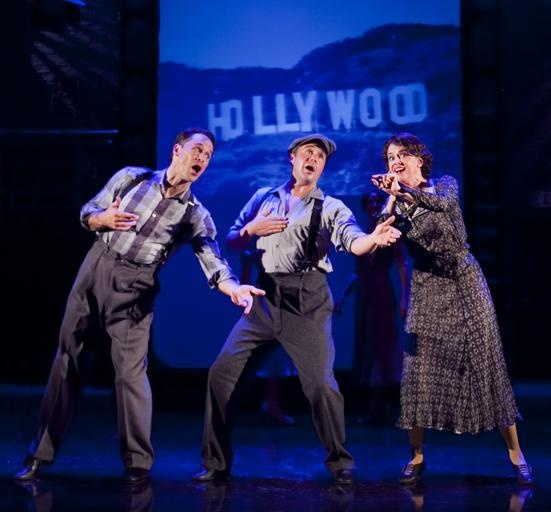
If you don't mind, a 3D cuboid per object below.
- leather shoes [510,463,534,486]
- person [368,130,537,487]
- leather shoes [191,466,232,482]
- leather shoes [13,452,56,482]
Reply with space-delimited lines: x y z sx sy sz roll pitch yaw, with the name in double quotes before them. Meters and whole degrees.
"leather shoes" 1.277 1.119 3.607 0.054 0.052 0.140 -7 5 1
"person" 0.901 0.250 3.646 0.777 1.824 0.299 -1 -2 3
"leather shoes" -0.335 1.134 3.641 0.198 0.073 0.071 9 -11 -19
"leather shoes" -1.261 1.093 3.594 0.252 0.157 0.084 14 -11 -39
